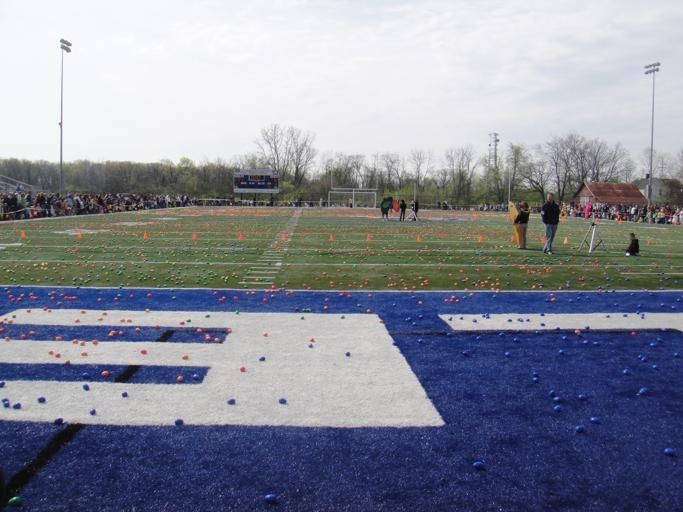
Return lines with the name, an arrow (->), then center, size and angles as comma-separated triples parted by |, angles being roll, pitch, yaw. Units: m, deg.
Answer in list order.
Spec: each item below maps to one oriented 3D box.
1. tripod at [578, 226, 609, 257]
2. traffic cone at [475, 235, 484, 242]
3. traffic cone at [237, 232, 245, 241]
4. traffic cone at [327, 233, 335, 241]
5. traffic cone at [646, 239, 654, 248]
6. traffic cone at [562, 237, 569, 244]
tripod -> 10.527, -0.617, 22.722 | 1.048, 1.781, 1.184 | 3, 14, 23
traffic cone -> 6.236, -0.799, 24.631 | 0.295, 0.308, 0.273 | -4, 18, 18
traffic cone -> -4.495, -0.889, 24.095 | 0.364, 0.408, 0.356 | -5, 14, -23
traffic cone -> -0.496, -0.795, 23.964 | 0.338, 0.381, 0.345 | 7, 24, 16
traffic cone -> 13.329, -0.550, 23.538 | 0.317, 0.337, 0.321 | 6, 17, 27
traffic cone -> 9.928, -0.706, 24.152 | 0.306, 0.331, 0.311 | 6, 12, 33
